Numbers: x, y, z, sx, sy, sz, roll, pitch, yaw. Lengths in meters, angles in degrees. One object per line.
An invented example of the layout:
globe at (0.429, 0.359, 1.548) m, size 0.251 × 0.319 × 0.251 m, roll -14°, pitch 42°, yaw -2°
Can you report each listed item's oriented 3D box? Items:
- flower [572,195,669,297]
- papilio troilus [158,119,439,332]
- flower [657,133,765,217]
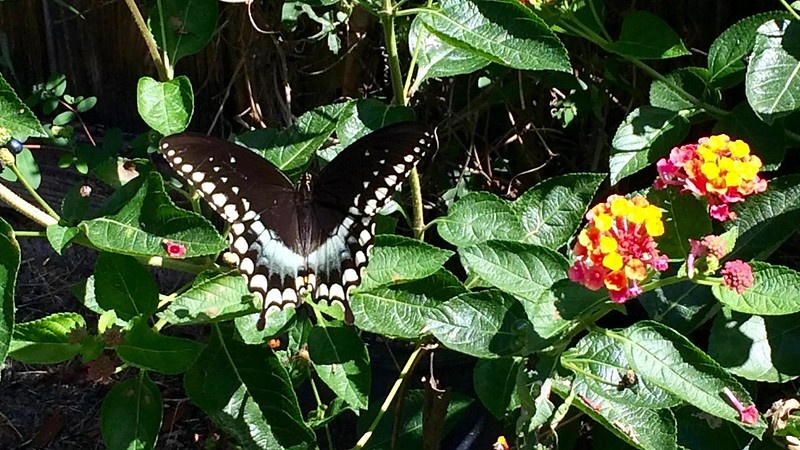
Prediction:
flower at (0.710, 0.031, 2.534) m, size 0.099 × 0.256 × 0.250 m, roll -14°, pitch 45°, yaw 34°
papilio troilus at (-0.378, 0.013, 2.896) m, size 0.950 × 0.731 × 0.069 m, roll -3°, pitch 21°, yaw -10°
flower at (1.043, -0.139, 2.648) m, size 0.300 × 0.205 × 0.300 m, roll 4°, pitch 69°, yaw -14°
